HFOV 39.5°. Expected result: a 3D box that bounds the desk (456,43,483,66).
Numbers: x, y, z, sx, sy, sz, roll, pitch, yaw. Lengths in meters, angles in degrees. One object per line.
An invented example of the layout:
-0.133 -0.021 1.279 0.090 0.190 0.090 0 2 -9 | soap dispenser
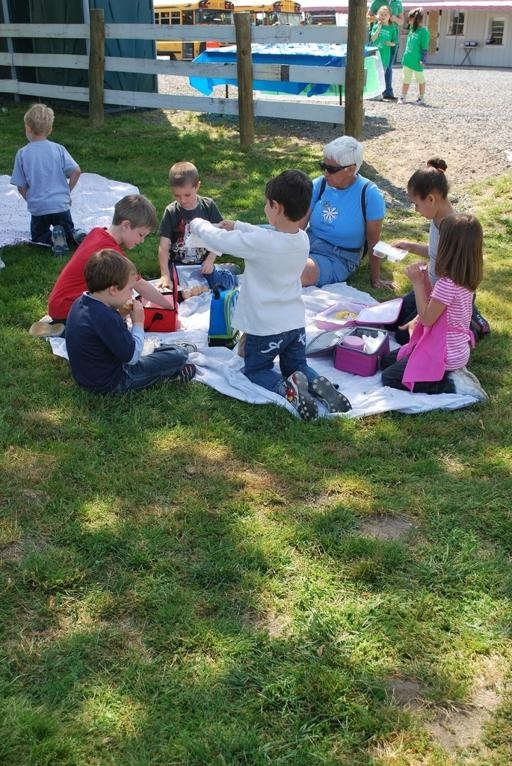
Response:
7.525 -11.739 25.227 0.779 0.819 0.717 1 45 0 | desk

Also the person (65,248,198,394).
-0.717 -0.331 3.844 0.346 0.776 0.608 13 23 33 | person

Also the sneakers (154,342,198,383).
-0.428 -0.131 4.232 0.263 0.237 0.094 7 -7 5 | sneakers

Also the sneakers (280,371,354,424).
0.321 0.078 3.858 0.249 0.321 0.113 -38 -2 -32 | sneakers

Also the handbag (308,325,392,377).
0.567 -0.224 4.446 0.433 0.151 0.332 17 33 32 | handbag

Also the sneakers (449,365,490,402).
1.213 0.010 4.089 0.138 0.086 0.220 5 37 -25 | sneakers

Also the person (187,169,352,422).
0.102 -0.493 3.886 0.897 1.275 0.535 4 20 11 | person

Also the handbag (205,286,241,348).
-0.208 -0.398 4.459 0.245 0.420 0.289 4 38 0 | handbag
